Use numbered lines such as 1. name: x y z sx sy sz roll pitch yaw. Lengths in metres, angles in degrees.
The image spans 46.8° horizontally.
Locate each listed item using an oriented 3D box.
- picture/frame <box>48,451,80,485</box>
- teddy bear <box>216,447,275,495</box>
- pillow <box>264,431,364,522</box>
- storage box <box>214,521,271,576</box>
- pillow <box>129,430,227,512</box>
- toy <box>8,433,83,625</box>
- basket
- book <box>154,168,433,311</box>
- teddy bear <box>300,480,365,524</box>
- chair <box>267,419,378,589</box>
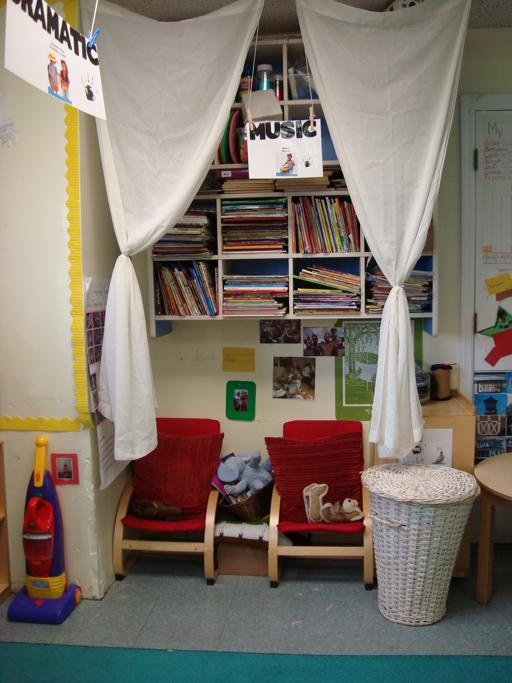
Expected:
1. picture/frame: -0.850 0.563 2.637 0.158 0.171 0.008 -1 2 0
2. teddy bear: -0.072 0.669 2.973 0.216 0.091 0.214 -29 27 -32
3. pillow: 0.296 0.616 2.788 0.415 0.402 0.132 -2 -8 -3
4. storage box: -0.061 1.005 2.839 0.268 0.165 0.266 0 0 7
5. pillow: -0.379 0.663 2.957 0.371 0.355 0.099 -1 -14 14
6. toy: -0.932 0.813 2.570 0.249 0.759 0.234 0 7 9
7. basket: 0.574 0.863 2.690 0.584 0.661 0.592 -3 10 -7
8. book: 0.063 -0.446 2.850 1.132 0.652 0.225 -1 7 6
9. teddy bear: 0.335 0.761 2.843 0.373 0.240 0.123 -3 -3 -1
10. chair: 0.269 0.732 2.822 0.592 0.741 0.707 -1 -9 4
